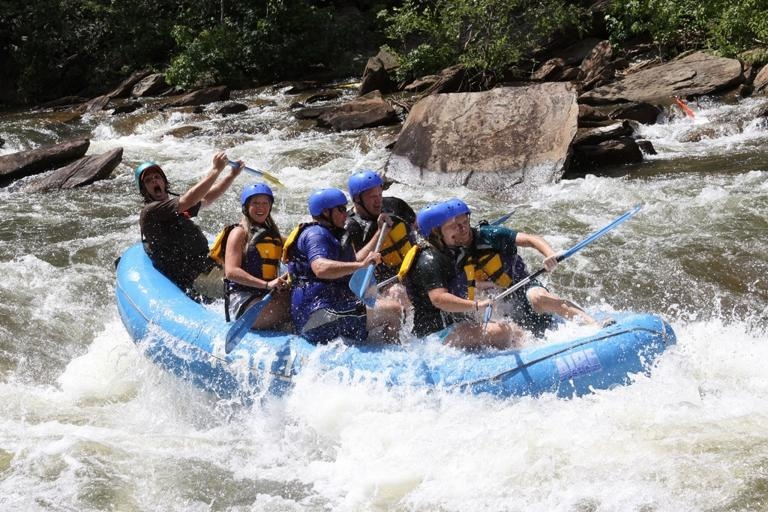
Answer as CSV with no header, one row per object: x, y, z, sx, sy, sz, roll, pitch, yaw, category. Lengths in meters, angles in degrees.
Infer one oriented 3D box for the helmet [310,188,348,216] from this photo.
-0.621,-0.598,9.411,0.361,0.285,0.277,-29,8,9,helmet

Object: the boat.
-0.092,0.971,9.285,4.350,0.926,2.142,2,6,12,boat

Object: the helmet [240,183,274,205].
-1.433,-0.715,9.659,0.223,0.312,0.237,5,2,-15,helmet

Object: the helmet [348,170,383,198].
-0.235,-0.824,9.750,0.338,0.264,0.278,-32,0,29,helmet

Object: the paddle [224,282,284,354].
-1.387,0.688,9.336,0.046,0.244,1.014,27,75,47,paddle

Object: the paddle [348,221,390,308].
-0.125,0.104,9.051,0.300,0.916,0.077,21,-7,4,paddle

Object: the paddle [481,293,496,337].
1.050,0.612,8.846,0.096,0.436,0.132,14,26,-2,paddle

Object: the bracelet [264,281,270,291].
-1.245,0.320,9.278,0.064,0.065,0.062,20,46,28,bracelet

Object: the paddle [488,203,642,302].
2.305,0.000,10.816,2.012,0.219,0.099,-37,42,-8,paddle
